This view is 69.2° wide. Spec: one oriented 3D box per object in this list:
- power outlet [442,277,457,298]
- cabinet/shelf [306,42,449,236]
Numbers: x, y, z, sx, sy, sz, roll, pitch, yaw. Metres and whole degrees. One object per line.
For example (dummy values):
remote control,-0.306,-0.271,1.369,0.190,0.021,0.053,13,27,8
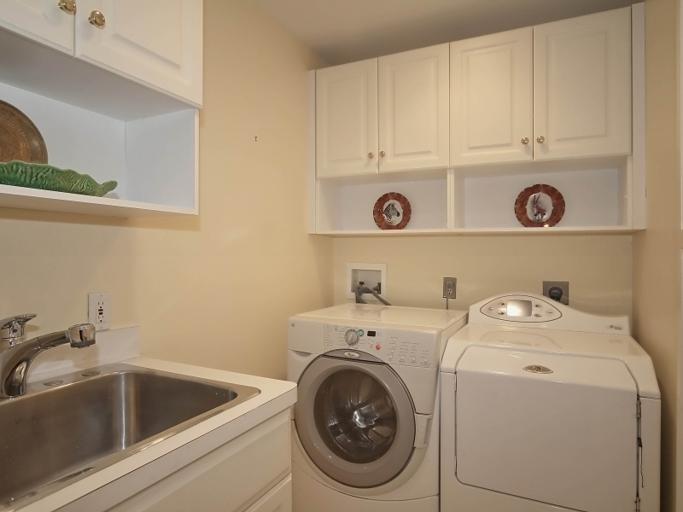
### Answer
power outlet,0.646,0.190,2.954,0.079,0.127,0.048,1,5,13
cabinet/shelf,0.216,-0.706,2.861,1.038,1.279,0.403,-2,-4,33
